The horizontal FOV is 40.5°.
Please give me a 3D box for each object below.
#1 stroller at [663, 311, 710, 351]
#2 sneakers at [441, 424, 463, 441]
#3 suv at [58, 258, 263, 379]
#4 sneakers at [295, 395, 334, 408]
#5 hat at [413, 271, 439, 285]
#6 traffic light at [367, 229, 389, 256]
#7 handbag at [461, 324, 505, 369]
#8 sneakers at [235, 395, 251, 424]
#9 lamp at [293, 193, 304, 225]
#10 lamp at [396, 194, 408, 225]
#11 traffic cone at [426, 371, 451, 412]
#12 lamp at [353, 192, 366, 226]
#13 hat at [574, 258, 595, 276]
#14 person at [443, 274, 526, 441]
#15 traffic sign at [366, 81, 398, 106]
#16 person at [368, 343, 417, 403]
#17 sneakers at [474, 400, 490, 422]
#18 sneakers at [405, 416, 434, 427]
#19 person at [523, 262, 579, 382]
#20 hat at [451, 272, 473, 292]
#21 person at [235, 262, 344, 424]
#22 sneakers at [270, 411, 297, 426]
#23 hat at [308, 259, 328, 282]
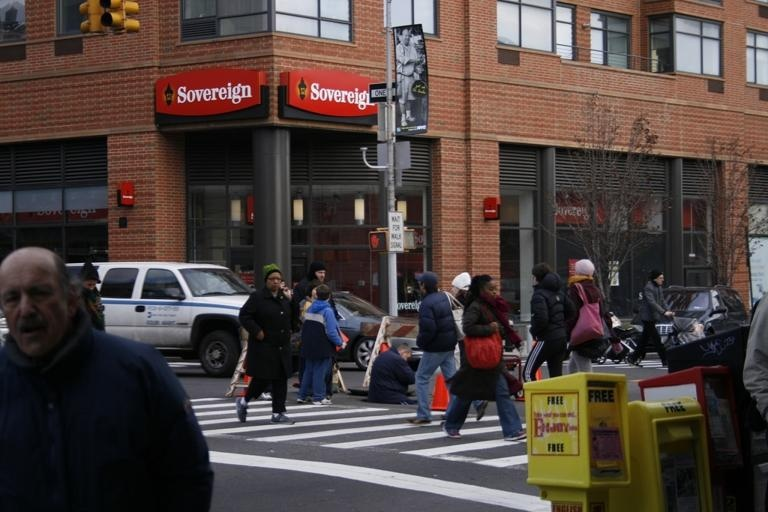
[{"bbox_3d":[6.898,1.774,23.825,0.872,0.719,1.085,9,8,20],"label":"stroller"},{"bbox_3d":[0.943,2.504,14.841,0.137,0.130,0.312,0,7,-14],"label":"sneakers"},{"bbox_3d":[-4.912,1.402,22.406,4.584,2.034,2.283,-3,-3,22],"label":"suv"},{"bbox_3d":[-1.172,2.537,18.019,0.664,0.281,0.218,2,-4,18],"label":"sneakers"},{"bbox_3d":[0.612,0.366,15.843,0.294,0.140,0.188,11,9,24],"label":"hat"},{"bbox_3d":[-0.041,-0.289,22.472,0.474,0.652,0.533,-1,5,-41],"label":"traffic light"},{"bbox_3d":[1.358,1.284,14.581,0.643,0.875,0.492,-1,-15,5],"label":"handbag"},{"bbox_3d":[-2.176,2.378,16.054,0.200,0.434,0.146,-4,4,22],"label":"sneakers"},{"bbox_3d":[-2.338,-1.207,28.352,0.343,0.723,0.170,5,8,-10],"label":"lamp"},{"bbox_3d":[0.493,-1.237,29.058,0.389,0.826,0.581,7,8,1],"label":"lamp"},{"bbox_3d":[0.939,2.342,17.630,0.524,0.540,0.514,1,-10,-7],"label":"traffic cone"},{"bbox_3d":[-0.675,-1.242,28.747,0.332,0.779,0.134,3,8,-22],"label":"lamp"},{"bbox_3d":[3.257,0.219,17.027,0.347,0.370,0.466,3,5,7],"label":"hat"},{"bbox_3d":[1.539,1.445,14.581,1.041,2.143,0.805,7,8,7],"label":"person"},{"bbox_3d":[-0.055,-3.596,23.167,0.647,0.479,0.838,8,8,11],"label":"traffic sign"},{"bbox_3d":[0.130,2.089,18.212,0.778,1.029,0.959,4,6,-42],"label":"person"},{"bbox_3d":[1.524,2.418,16.396,0.195,0.394,0.138,20,24,27],"label":"sneakers"},{"bbox_3d":[0.545,2.545,15.926,0.366,0.144,0.132,3,-2,5],"label":"sneakers"},{"bbox_3d":[2.569,1.128,16.193,0.714,1.847,0.881,8,8,10],"label":"person"},{"bbox_3d":[1.196,0.428,16.396,0.237,0.216,0.328,0,-2,-43],"label":"hat"},{"bbox_3d":[-1.773,1.363,15.912,0.882,2.307,0.664,5,8,-8],"label":"person"},{"bbox_3d":[-1.545,2.495,15.895,0.364,0.158,0.156,1,0,0],"label":"sneakers"},{"bbox_3d":[-1.281,0.308,19.311,0.385,0.380,0.372,-4,-2,30],"label":"hat"}]
